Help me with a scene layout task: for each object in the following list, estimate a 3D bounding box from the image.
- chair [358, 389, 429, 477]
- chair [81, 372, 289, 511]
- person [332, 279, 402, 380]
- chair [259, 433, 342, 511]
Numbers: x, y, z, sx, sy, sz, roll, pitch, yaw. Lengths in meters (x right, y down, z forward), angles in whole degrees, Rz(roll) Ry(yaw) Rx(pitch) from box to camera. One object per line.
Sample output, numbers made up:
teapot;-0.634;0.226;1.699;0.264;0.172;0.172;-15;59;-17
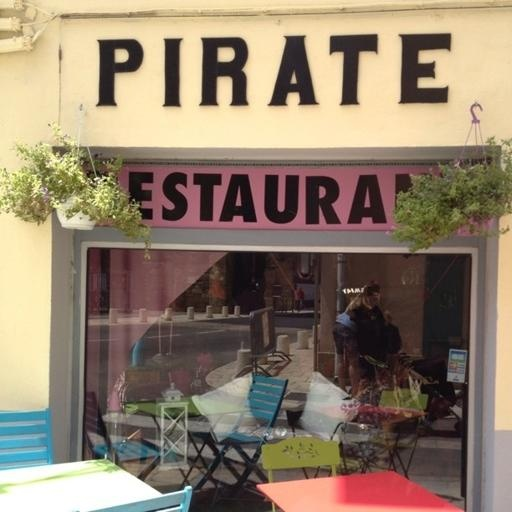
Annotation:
chair;1.148;1.459;7.005;0.576;0.922;0.622;4;-12;26
chair;-0.492;1.361;6.842;0.921;1.338;0.748;18;-11;-42
person;0.976;0.931;6.992;0.565;1.400;0.412;-5;15;-7
chair;0.314;1.618;6.189;0.477;0.951;0.613;0;-12;-4
